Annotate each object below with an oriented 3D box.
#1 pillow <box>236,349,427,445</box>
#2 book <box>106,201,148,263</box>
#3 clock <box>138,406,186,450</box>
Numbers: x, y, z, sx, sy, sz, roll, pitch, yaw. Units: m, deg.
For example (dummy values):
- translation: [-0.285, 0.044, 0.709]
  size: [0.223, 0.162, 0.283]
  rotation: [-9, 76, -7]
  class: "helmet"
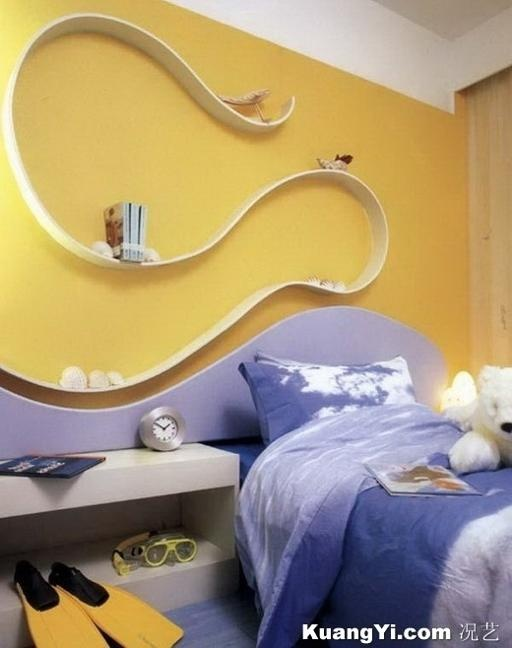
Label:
- translation: [0.271, 0.252, 2.081]
  size: [0.510, 0.356, 0.146]
  rotation: [-2, -28, -39]
  class: "pillow"
- translation: [-0.462, -0.329, 1.956]
  size: [0.131, 0.216, 0.175]
  rotation: [-6, 22, -34]
  class: "book"
- translation: [-0.324, 0.360, 1.873]
  size: [0.151, 0.142, 0.049]
  rotation: [8, -15, -39]
  class: "clock"
